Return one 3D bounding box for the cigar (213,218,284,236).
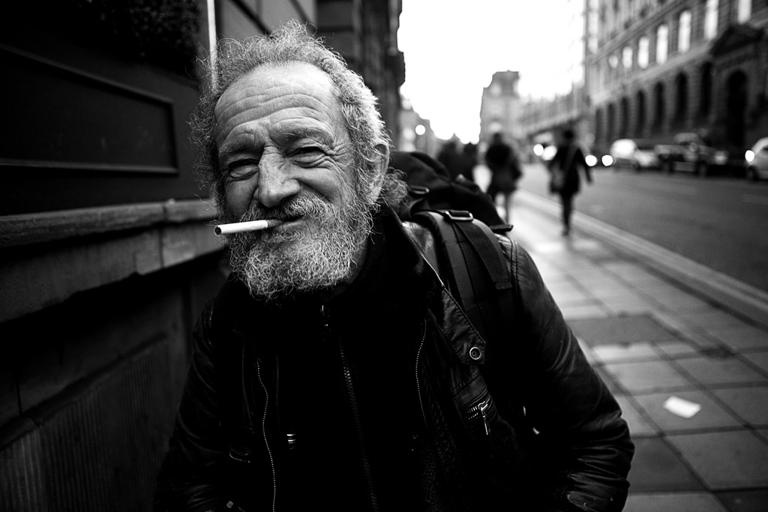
[{"bbox_3d":[-0.480,-0.103,2.284,0.039,0.036,0.241,41,28,27],"label":"cigar"}]
